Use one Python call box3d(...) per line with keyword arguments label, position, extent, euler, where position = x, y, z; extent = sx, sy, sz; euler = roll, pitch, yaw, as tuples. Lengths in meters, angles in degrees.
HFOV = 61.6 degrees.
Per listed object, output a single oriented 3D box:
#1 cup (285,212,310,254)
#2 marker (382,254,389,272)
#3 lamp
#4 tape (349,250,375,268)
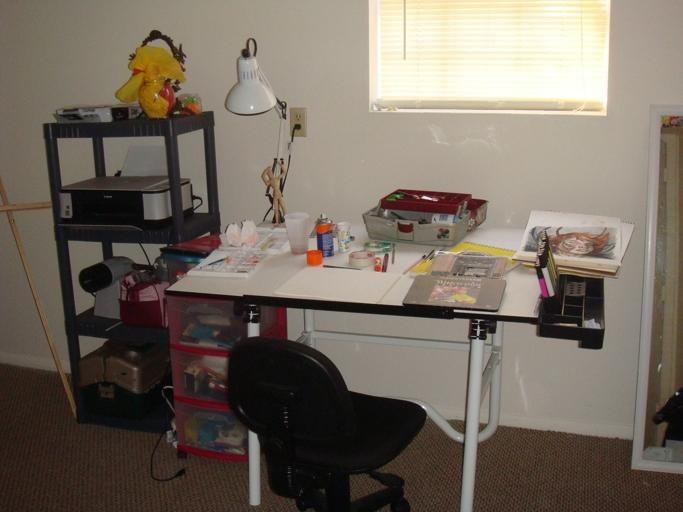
box3d(label="cup", position=(-0.161, -0.114, 2.412), extent=(0.136, 0.206, 0.151), euler=(0, 14, 1))
box3d(label="marker", position=(0.175, 0.023, 2.262), extent=(0.014, 0.014, 0.110), euler=(-17, 26, 24))
box3d(label="lamp", position=(-0.380, -0.579, 2.669), extent=(0.264, 0.888, 0.502), euler=(-2, 15, -5))
box3d(label="tape", position=(0.083, 0.007, 2.288), extent=(0.068, 0.029, 0.071), euler=(3, 17, 6))
